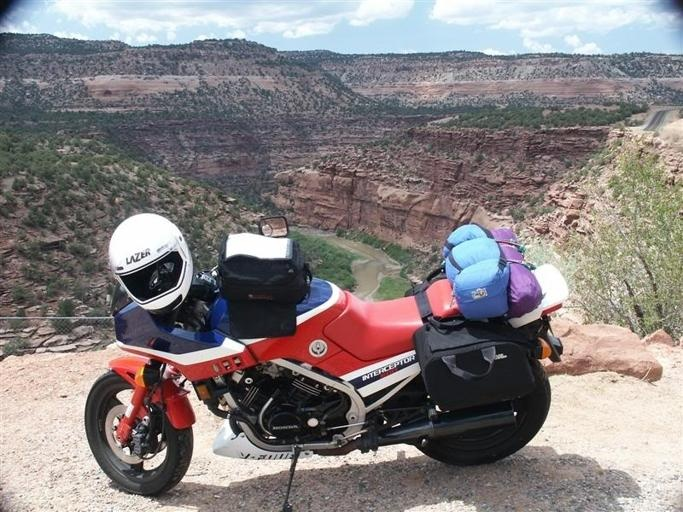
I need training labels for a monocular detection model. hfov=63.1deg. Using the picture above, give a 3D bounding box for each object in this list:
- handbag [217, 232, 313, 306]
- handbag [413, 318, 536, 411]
[{"bbox_3d":[-0.675,0.120,4.948,0.795,0.526,0.514,3,36,-3],"label":"handbag"},{"bbox_3d":[1.368,0.947,5.123,0.735,1.074,0.624,-24,89,-50],"label":"handbag"}]
